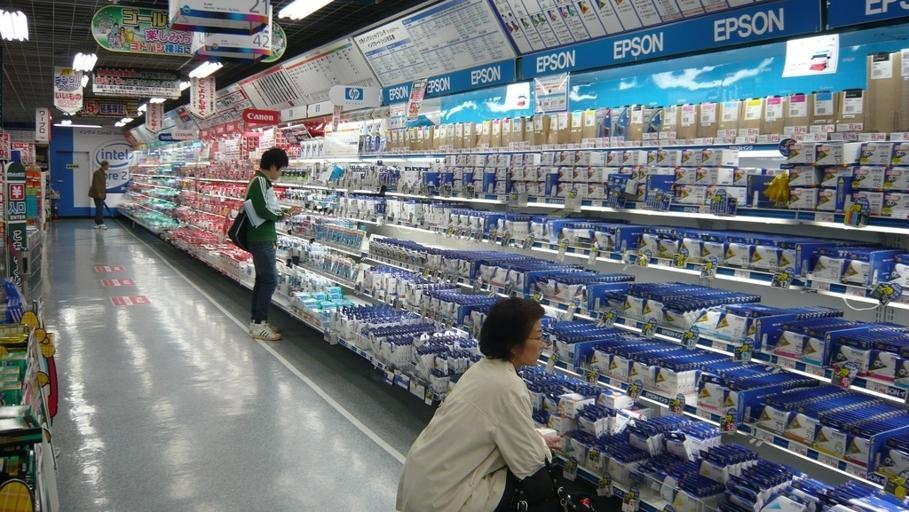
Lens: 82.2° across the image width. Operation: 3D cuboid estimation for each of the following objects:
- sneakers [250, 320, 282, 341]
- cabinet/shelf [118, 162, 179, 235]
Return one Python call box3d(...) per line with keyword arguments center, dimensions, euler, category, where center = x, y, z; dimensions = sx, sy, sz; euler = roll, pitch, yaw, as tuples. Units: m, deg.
box3d(center=(-2.820, 1.104, 7.725), dimensions=(0.497, 0.190, 0.215), euler=(2, 9, -6), category="sneakers")
box3d(center=(-11.614, -2.188, 19.852), dimensions=(1.195, 1.553, 4.492), euler=(0, 7, -38), category="cabinet/shelf")
